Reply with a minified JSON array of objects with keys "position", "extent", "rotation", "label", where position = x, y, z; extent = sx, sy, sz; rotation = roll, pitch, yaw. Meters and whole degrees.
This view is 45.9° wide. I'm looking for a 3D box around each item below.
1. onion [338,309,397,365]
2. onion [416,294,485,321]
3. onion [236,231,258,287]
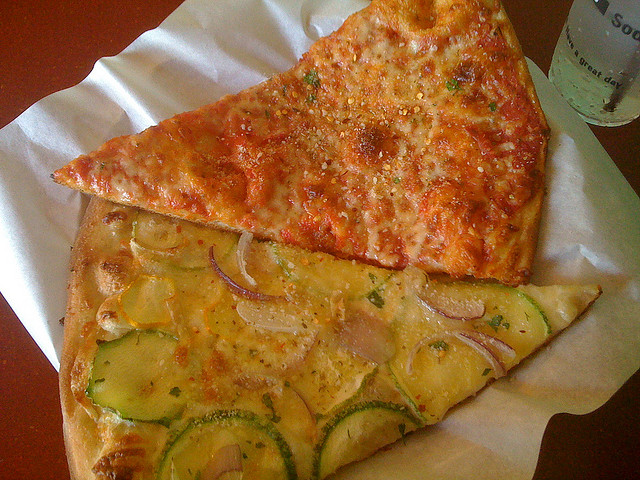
[{"position":[0.230,0.465,3.693],"extent":[0.280,0.215,0.184],"rotation":[15,35,2],"label":"onion"},{"position":[0.635,0.347,3.703],"extent":[0.271,0.077,0.127],"rotation":[13,43,16],"label":"onion"},{"position":[-0.381,0.075,3.851],"extent":[0.117,0.364,0.073],"rotation":[-19,-25,37],"label":"onion"}]
